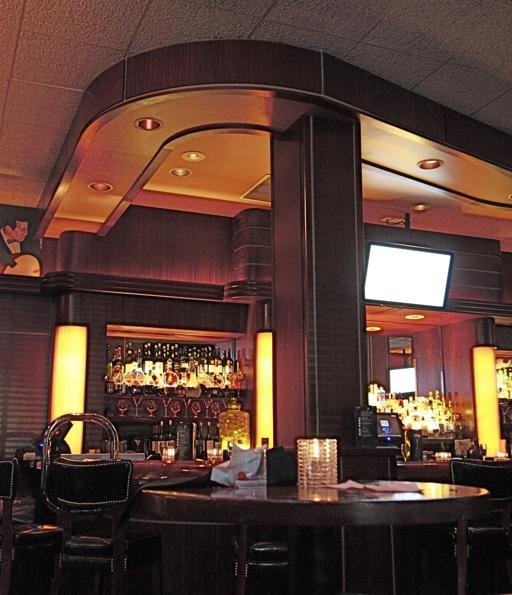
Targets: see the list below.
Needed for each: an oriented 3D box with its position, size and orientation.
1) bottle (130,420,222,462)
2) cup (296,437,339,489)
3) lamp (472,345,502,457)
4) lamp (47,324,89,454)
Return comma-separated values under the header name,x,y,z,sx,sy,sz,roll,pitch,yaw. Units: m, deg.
name,x,y,z,sx,sy,sz,roll,pitch,yaw
bottle,-0.753,1.349,5.559,0.898,0.374,0.320,3,-12,-17
cup,0.188,0.509,1.810,0.161,0.186,0.149,1,-8,0
lamp,2.526,1.130,6.447,0.275,1.177,0.293,-8,-15,34
lamp,-1.588,0.621,4.987,0.297,0.787,0.198,3,-13,-15
